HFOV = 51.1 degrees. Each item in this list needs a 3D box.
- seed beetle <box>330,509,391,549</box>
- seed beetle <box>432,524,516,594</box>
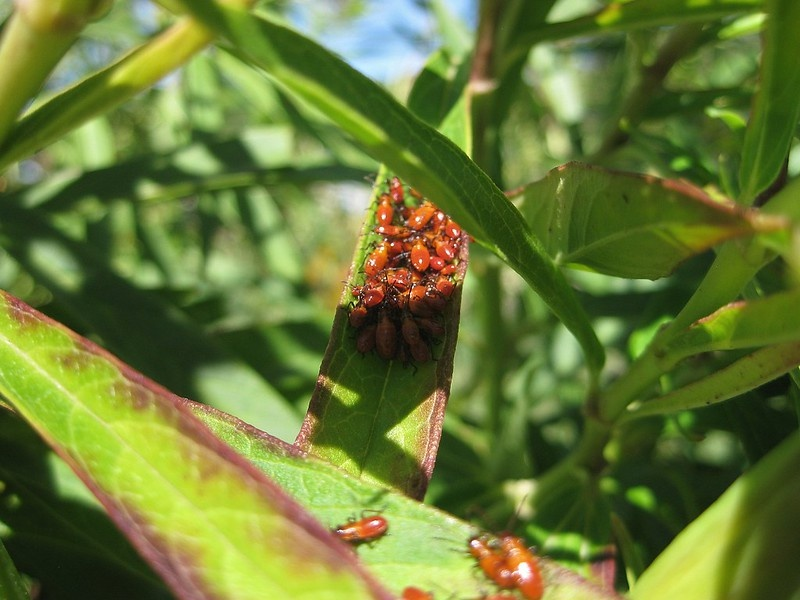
[{"bbox_3d":[-0.068,0.389,1.427,0.087,0.067,0.026,-16,7,-18],"label":"seed beetle"},{"bbox_3d":[0.152,0.441,1.495,0.107,0.042,0.136,-26,58,-27],"label":"seed beetle"}]
